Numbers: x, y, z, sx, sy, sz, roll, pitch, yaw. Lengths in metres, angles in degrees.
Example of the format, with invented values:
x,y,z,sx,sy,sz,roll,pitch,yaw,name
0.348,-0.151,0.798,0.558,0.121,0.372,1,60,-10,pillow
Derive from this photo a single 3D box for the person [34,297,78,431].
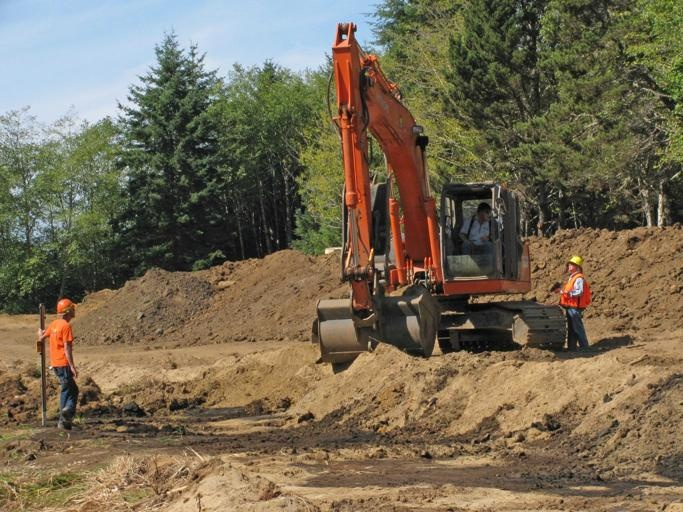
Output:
x,y,z,sx,sy,sz,roll,pitch,yaw,name
-7.948,3.084,33.054,0.948,3.644,1.044,-6,0,5,person

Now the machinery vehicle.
x,y,z,sx,sy,sz,roll,pitch,yaw,name
2.862,-1.170,36.045,4.834,9.430,9.128,-8,-5,37,machinery vehicle
